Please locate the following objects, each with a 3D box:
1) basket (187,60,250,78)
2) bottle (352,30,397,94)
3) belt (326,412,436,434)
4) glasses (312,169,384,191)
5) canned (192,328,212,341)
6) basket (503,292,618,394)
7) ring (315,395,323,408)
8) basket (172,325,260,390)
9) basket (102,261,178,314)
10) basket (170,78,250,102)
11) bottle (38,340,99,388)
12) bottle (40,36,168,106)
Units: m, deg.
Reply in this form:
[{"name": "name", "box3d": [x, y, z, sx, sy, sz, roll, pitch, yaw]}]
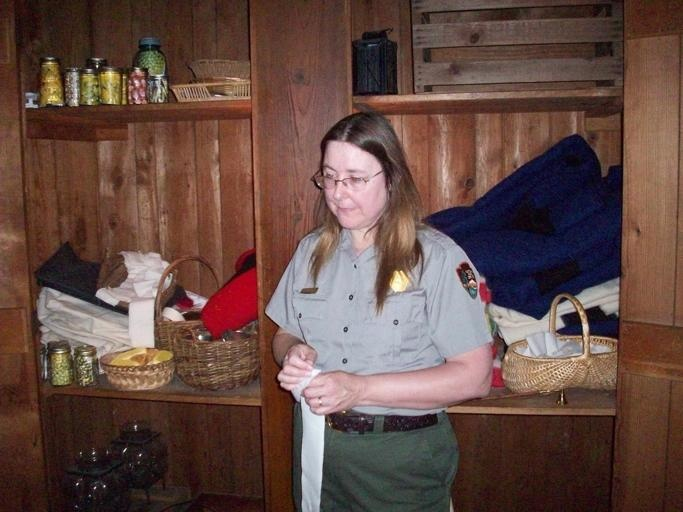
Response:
[{"name": "basket", "box3d": [-0.519, -0.798, 2.804, 0.256, 0.084, 0.067, 0, 4, 5]}, {"name": "bottle", "box3d": [0.137, -0.782, 2.683, 0.181, 0.262, 0.093, -1, 4, 0]}, {"name": "belt", "box3d": [0.138, 0.571, 2.237, 0.367, 0.070, 0.044, -1, 4, -1]}, {"name": "glasses", "box3d": [0.027, -0.257, 2.256, 0.234, 0.070, 0.081, 0, 4, 8]}, {"name": "canned", "box3d": [-0.575, 0.331, 2.722, 0.054, 0.036, 0.055, 0, 2, 0]}, {"name": "basket", "box3d": [0.778, 0.375, 2.662, 0.569, 0.389, 0.293, 3, -1, -7]}, {"name": "ring", "box3d": [-0.067, 0.476, 2.113, 0.025, 0.024, 0.009, 2, 6, 39]}, {"name": "basket", "box3d": [-0.508, 0.415, 2.674, 0.319, 0.146, 0.266, 1, -3, 3]}, {"name": "basket", "box3d": [-0.920, 0.118, 2.951, 0.303, 0.102, 0.267, 2, 31, -6]}, {"name": "basket", "box3d": [-0.520, -0.690, 2.734, 0.377, 0.108, 0.128, 0, 4, 16]}, {"name": "bottle", "box3d": [-1.141, 0.464, 2.807, 0.296, 0.211, 0.150, 6, 3, -1]}, {"name": "bottle", "box3d": [-0.985, -0.769, 2.770, 0.575, 0.276, 0.286, 0, 13, -3]}]
